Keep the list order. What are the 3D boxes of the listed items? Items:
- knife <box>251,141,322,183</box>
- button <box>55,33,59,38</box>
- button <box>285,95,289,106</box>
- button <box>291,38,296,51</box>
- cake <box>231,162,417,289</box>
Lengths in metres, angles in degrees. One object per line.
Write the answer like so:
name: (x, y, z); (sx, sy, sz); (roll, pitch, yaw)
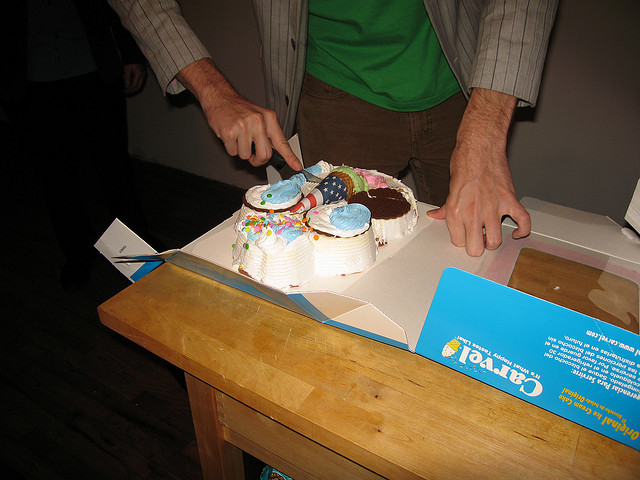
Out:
knife: (-0.100, -0.266, 1.457); (0.332, 0.038, 0.036); (38, 28, 9)
button: (-1.270, -0.986, 2.108); (0.018, 0.021, 0.004); (-2, 8, -8)
button: (-0.118, -0.498, 1.562); (0.005, 0.020, 0.015); (-17, 15, -19)
button: (-0.090, -0.654, 1.452); (0.006, 0.030, 0.004); (-4, 45, 6)
cake: (0.023, -0.058, 1.213); (0.451, 0.136, 0.328); (-24, 46, -31)
